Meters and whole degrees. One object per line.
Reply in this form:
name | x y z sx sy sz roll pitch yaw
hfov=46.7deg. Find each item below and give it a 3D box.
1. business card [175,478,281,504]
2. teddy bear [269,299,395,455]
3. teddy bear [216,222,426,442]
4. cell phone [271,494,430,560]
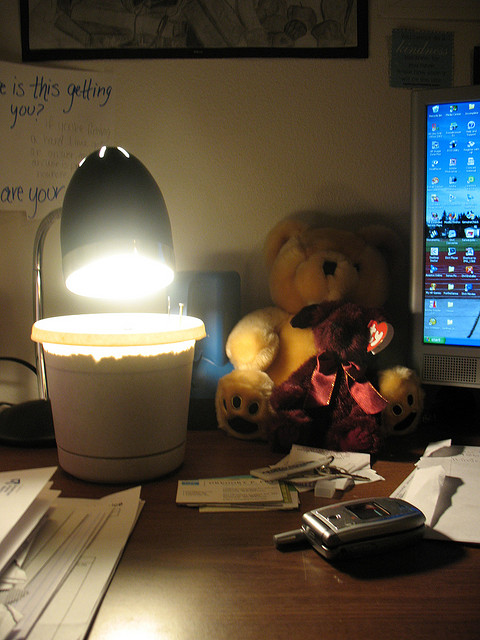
business card | -0.012 0.180 0.589 0.107 0.003 0.056 0 11 -2
teddy bear | 0.116 0.080 0.706 0.172 0.219 0.128 4 -2 13
teddy bear | 0.117 0.005 0.839 0.267 0.342 0.236 2 -2 5
cell phone | 0.100 0.170 0.497 0.106 0.021 0.056 -6 10 -20
